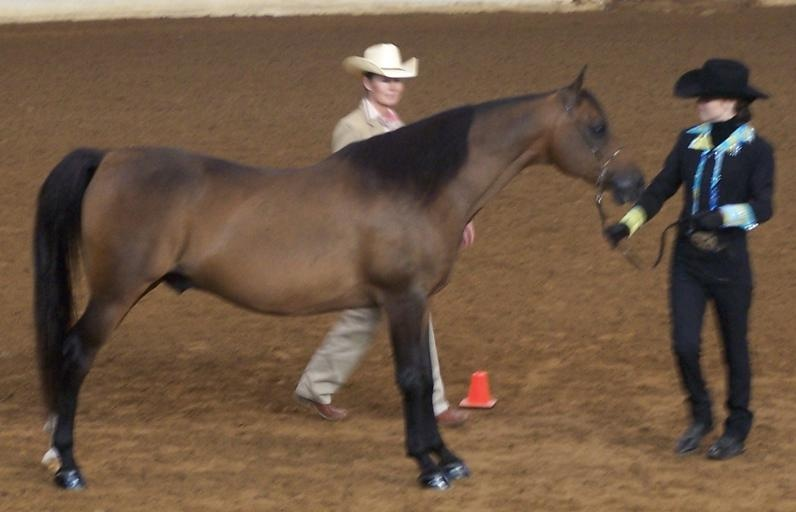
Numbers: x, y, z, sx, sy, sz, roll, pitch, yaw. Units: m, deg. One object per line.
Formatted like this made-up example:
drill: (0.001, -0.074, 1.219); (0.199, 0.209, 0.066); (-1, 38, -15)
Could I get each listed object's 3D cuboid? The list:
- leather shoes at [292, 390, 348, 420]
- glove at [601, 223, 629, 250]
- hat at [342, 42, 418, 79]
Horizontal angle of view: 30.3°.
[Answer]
leather shoes: (-0.862, 1.631, 15.416); (0.720, 0.272, 0.209); (11, 53, 8)
glove: (2.196, -0.206, 14.873); (0.339, 0.247, 0.198); (3, -3, 4)
hat: (-0.210, -2.026, 15.192); (0.507, 0.188, 0.545); (0, -3, -17)
